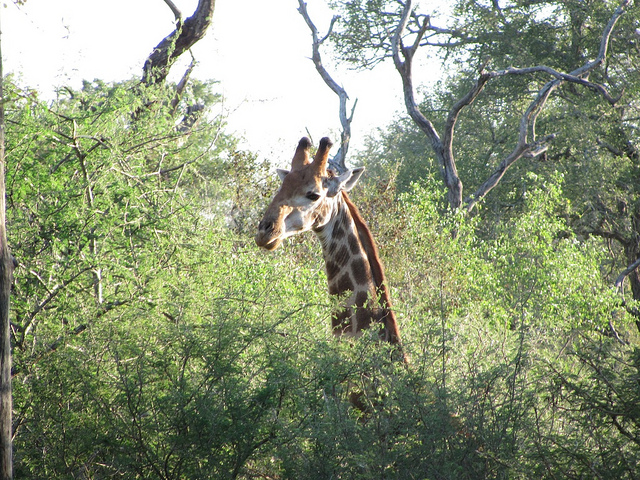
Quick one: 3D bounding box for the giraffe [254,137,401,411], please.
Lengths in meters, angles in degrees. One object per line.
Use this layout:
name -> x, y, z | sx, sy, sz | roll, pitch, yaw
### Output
giraffe -> 0.107, 0.121, 17.695 | 1.279, 2.367, 2.032 | -25, -45, 27
